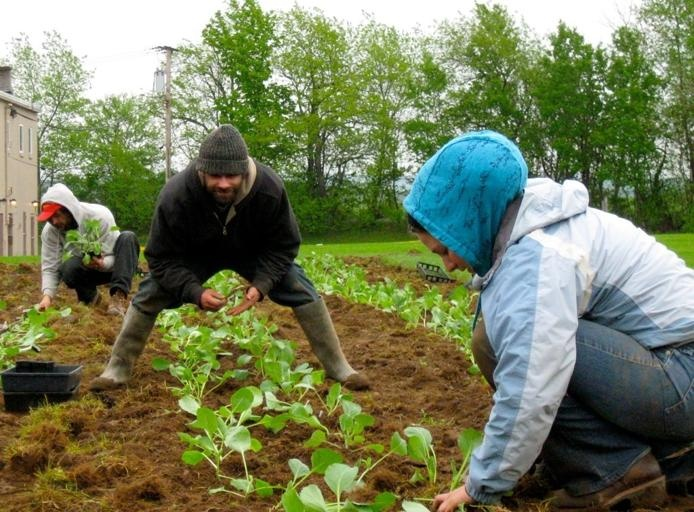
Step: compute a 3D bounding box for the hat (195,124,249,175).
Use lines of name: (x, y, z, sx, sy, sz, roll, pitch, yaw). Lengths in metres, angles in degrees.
hat: (-0.694, -0.609, 3.088, 0.279, 0.290, 0.310, 0, 16, -10)

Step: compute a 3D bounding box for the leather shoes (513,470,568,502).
leather shoes: (0.855, 1.026, 2.423, 0.156, 0.084, 0.121, 3, 14, 43)

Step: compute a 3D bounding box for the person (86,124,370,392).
person: (-0.747, 0.049, 3.444, 1.525, 1.422, 0.748, 4, 1, -14)

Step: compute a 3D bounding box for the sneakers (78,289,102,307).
sneakers: (-2.721, 0.441, 5.743, 0.219, 0.147, 0.220, -10, -14, 39)

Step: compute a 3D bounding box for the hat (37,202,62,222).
hat: (-2.846, -0.428, 5.107, 0.248, 0.145, 0.182, 5, 1, 25)
